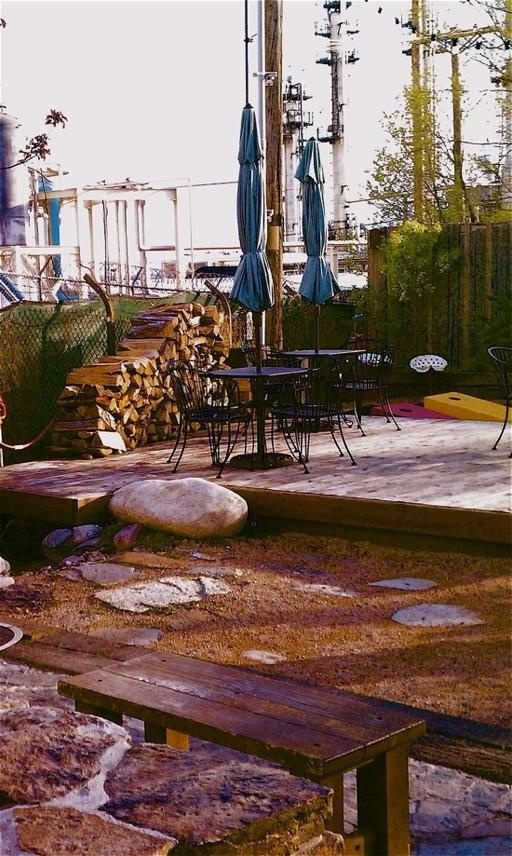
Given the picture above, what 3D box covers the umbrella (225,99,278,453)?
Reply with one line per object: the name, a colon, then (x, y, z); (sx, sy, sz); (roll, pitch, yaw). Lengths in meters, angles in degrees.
umbrella: (-0.034, -1.208, 7.017); (0.338, 2.967, 0.509); (-2, 6, 0)
